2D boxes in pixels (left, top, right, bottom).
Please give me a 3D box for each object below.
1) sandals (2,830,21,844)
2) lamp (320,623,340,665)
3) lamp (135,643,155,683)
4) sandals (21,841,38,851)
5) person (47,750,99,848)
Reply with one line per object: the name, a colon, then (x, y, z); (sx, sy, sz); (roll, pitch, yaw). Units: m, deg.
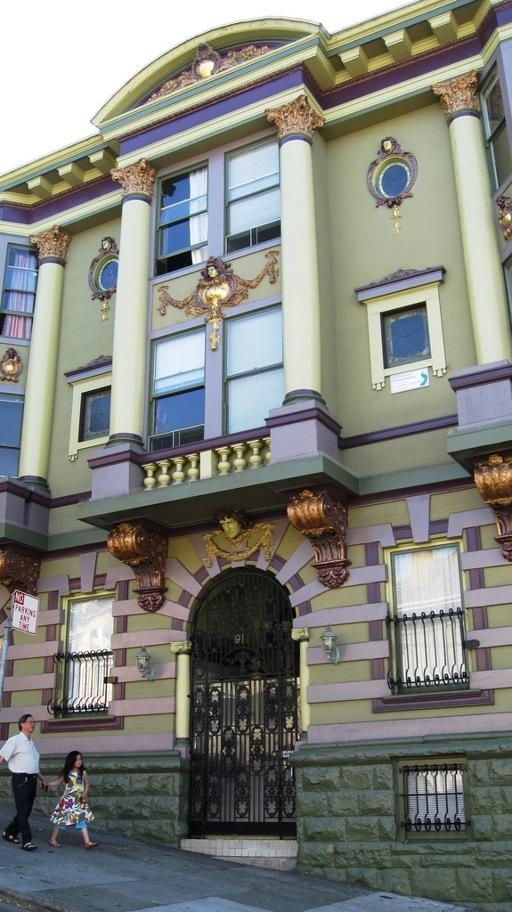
sandals: (-3.051, 4.754, 9.340); (0.102, 0.089, 0.279); (14, -20, -42)
lamp: (1.062, 2.713, 10.834); (0.254, 0.540, 0.492); (-3, -20, 4)
lamp: (-1.852, 3.442, 12.472); (0.287, 0.551, 0.576); (2, -21, -9)
sandals: (-2.662, 4.591, 8.793); (0.094, 0.089, 0.208); (10, -20, -32)
person: (-2.516, 4.743, 10.370); (0.628, 1.206, 2.265); (3, -21, -11)
